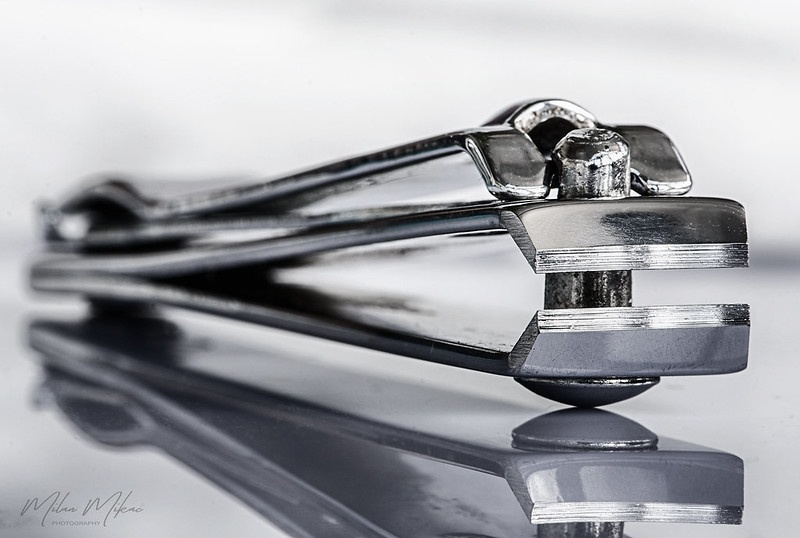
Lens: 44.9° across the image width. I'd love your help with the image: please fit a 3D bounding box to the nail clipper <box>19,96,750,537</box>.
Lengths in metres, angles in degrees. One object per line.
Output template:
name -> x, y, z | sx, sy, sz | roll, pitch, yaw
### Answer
nail clipper -> -0.047, 0.023, 0.945 | 0.794, 0.191, 0.285 | 1, -1, 40
